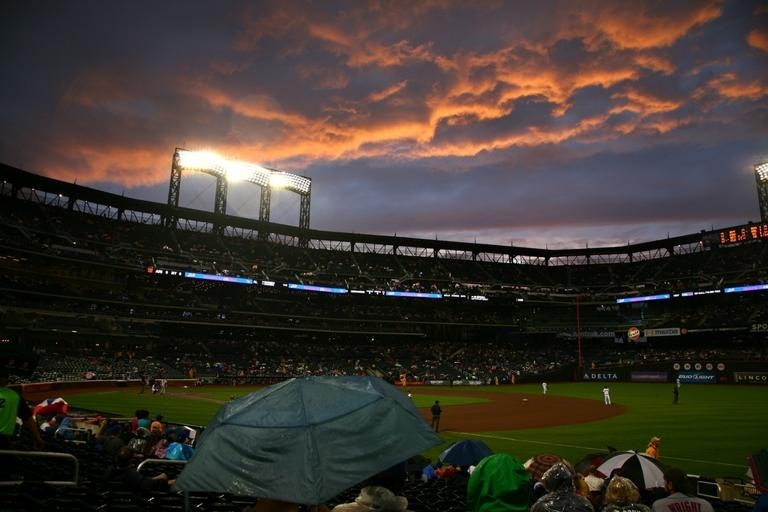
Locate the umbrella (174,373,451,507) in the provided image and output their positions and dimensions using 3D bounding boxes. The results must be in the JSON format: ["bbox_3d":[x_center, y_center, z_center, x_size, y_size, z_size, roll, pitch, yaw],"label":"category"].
[{"bbox_3d":[-1.741,6.359,20.760,5.367,1.618,5.431,-6,-7,23],"label":"umbrella"}]
